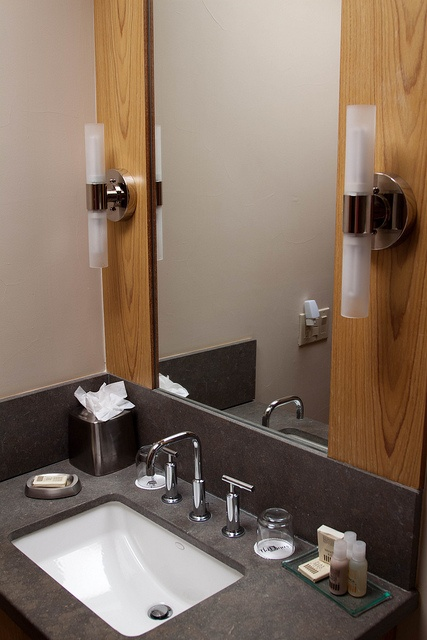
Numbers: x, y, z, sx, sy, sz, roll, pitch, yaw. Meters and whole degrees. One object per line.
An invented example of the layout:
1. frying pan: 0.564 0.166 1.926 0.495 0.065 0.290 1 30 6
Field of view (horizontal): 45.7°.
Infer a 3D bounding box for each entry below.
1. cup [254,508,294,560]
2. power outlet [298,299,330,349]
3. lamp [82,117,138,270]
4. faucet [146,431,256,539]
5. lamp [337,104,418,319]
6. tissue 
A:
1. cup: 0.114 0.410 1.006 0.076 0.082 0.079 -1 12 0
2. power outlet: 0.184 0.003 0.917 0.059 0.088 0.025 -13 28 -18
3. lamp: -0.262 -0.306 1.261 0.110 0.339 0.136 -4 24 -17
4. faucet: -0.014 0.349 1.057 0.192 0.224 0.140 2 13 25
5. lamp: 0.237 -0.148 0.723 0.101 0.286 0.094 3 11 14
6. tissue : -0.315 0.296 1.413 0.173 0.220 0.175 -6 10 -35
